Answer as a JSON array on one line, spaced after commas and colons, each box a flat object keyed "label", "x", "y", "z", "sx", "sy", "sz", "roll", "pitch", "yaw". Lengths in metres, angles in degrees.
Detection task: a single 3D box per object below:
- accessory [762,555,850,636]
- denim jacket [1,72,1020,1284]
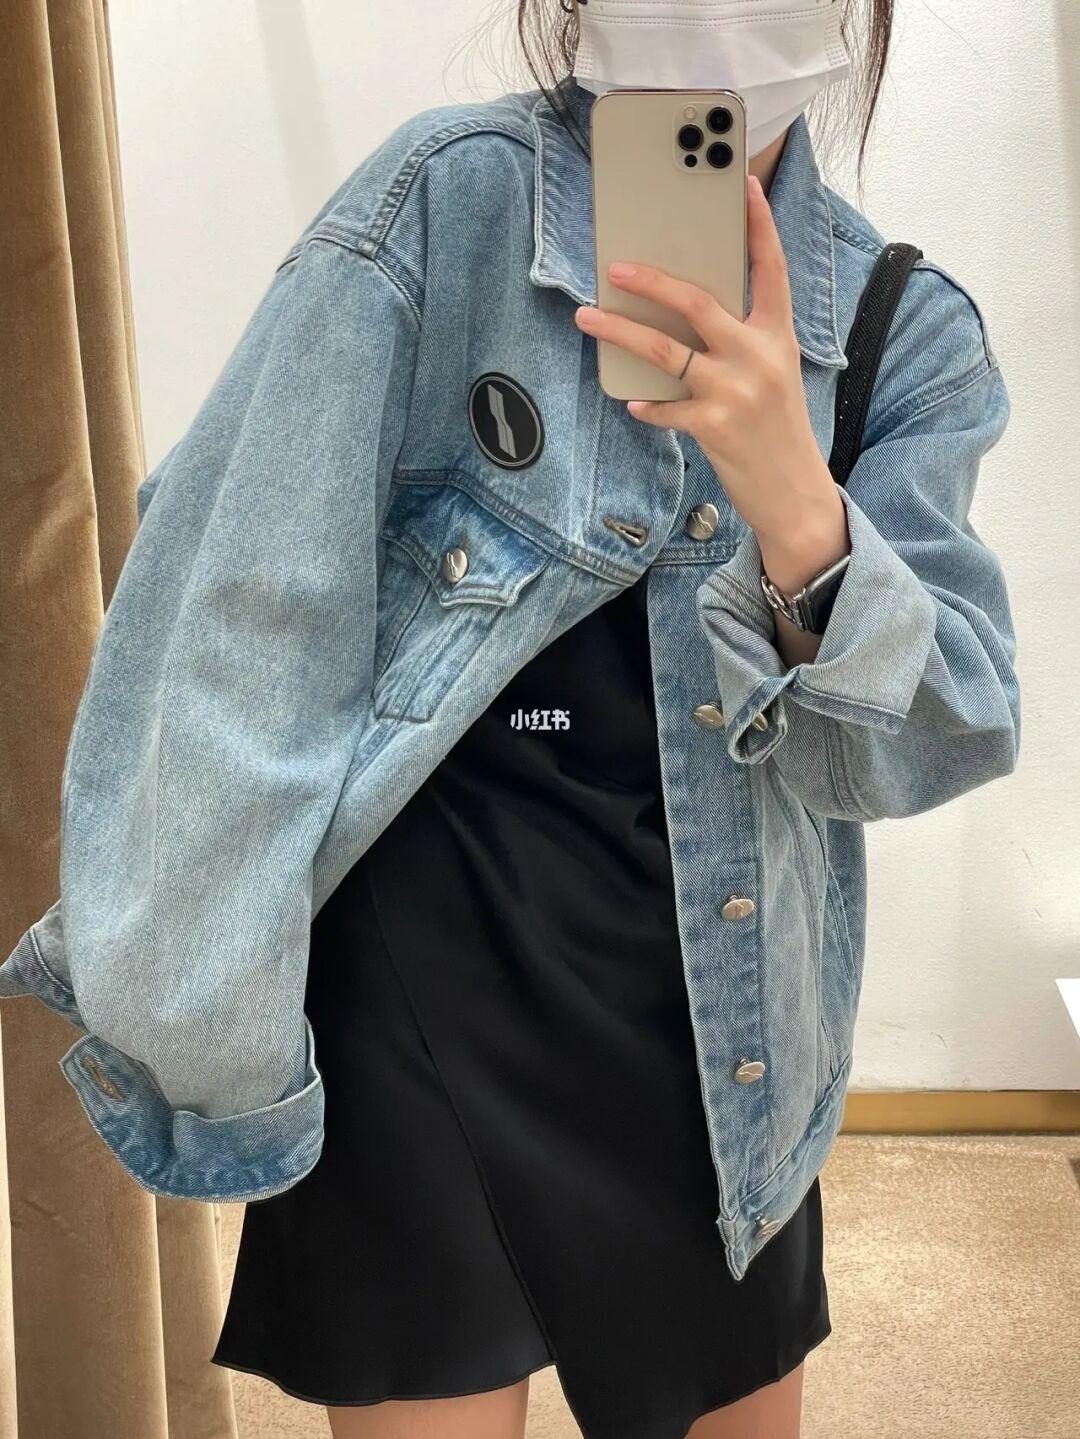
[{"label": "accessory", "x": 0.132, "y": -0.059, "z": 0.674, "sx": 0.043, "sy": 0.032, "sz": 0.052, "roll": 4, "pitch": 7, "yaw": 9}, {"label": "denim jacket", "x": 0.000, "y": 0.006, "z": 0.748, "sx": 0.602, "sy": 0.649, "sz": 0.268, "roll": -11, "pitch": 23, "yaw": -16}]
